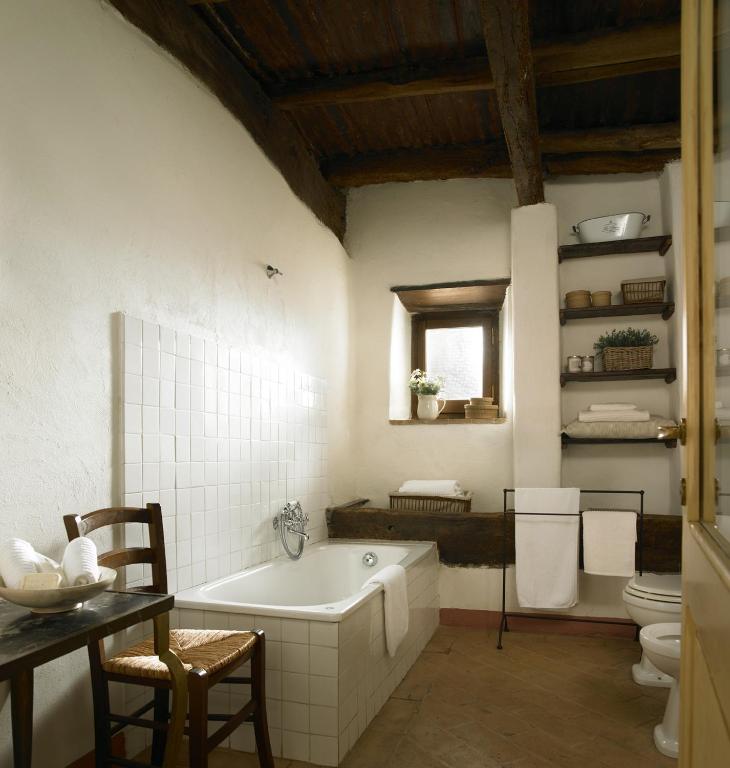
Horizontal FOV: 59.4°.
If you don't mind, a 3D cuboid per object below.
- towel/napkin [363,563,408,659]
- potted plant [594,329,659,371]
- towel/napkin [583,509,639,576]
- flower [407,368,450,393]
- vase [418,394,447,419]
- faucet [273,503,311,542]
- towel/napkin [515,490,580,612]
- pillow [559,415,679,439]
[{"bbox_3d":[0.122,0.984,2.751,0.086,0.324,0.275,-1,-2,25],"label":"towel/napkin"},{"bbox_3d":[1.593,-0.174,3.895,0.251,0.190,0.277,1,-2,13],"label":"potted plant"},{"bbox_3d":[1.289,0.843,3.393,0.275,0.355,0.085,-4,-1,21],"label":"towel/napkin"},{"bbox_3d":[0.459,-0.010,4.722,0.275,0.221,0.366,0,-4,4],"label":"flower"},{"bbox_3d":[0.477,0.172,4.611,0.123,0.169,0.201,-7,-14,38],"label":"vase"},{"bbox_3d":[-0.396,0.735,3.395,0.205,0.135,0.139,1,0,36],"label":"faucet"},{"bbox_3d":[1.005,0.913,3.562,0.336,0.655,0.067,0,-3,7],"label":"towel/napkin"},{"bbox_3d":[1.484,0.265,3.791,0.629,0.146,0.231,-2,-5,25],"label":"pillow"}]
